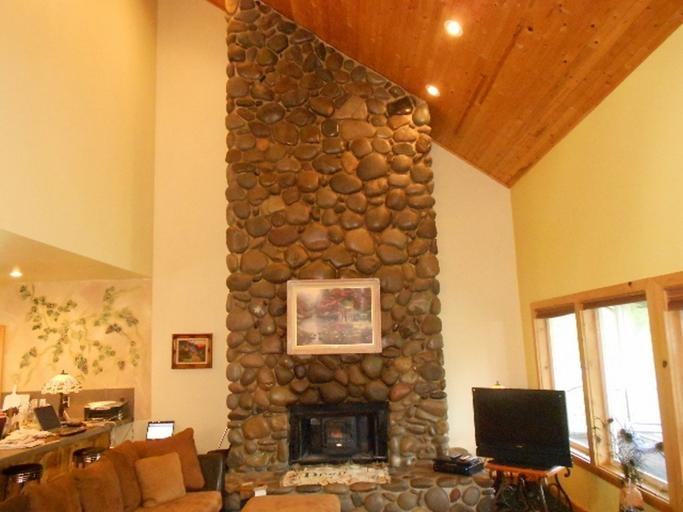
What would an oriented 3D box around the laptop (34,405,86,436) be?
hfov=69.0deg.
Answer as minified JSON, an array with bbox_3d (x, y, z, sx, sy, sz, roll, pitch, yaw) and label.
[{"bbox_3d":[-3.099,1.805,5.420,0.445,0.251,0.414,0,-8,4],"label":"laptop"}]

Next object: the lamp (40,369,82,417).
[{"bbox_3d":[-3.222,1.574,5.745,0.361,0.442,0.349,1,2,9],"label":"lamp"}]

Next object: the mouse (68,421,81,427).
[{"bbox_3d":[-3.066,1.937,5.710,0.107,0.030,0.095,2,-3,-2],"label":"mouse"}]

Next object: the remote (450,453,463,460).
[{"bbox_3d":[1.261,2.226,5.498,0.124,0.022,0.250,-4,-13,11],"label":"remote"}]

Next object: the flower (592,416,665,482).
[{"bbox_3d":[2.646,1.776,4.601,0.433,0.475,0.917,-5,-13,17],"label":"flower"}]

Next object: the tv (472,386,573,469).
[{"bbox_3d":[1.866,1.802,5.167,1.037,0.819,0.227,-5,-13,30],"label":"tv"}]

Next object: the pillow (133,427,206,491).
[{"bbox_3d":[-1.762,2.125,5.119,0.235,0.534,0.560,-27,-8,36],"label":"pillow"}]

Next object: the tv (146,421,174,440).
[{"bbox_3d":[-2.196,2.121,5.999,0.380,0.247,0.269,1,-11,-2],"label":"tv"}]

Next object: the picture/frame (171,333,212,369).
[{"bbox_3d":[-1.900,1.231,6.303,0.465,0.360,0.077,0,-7,-1],"label":"picture/frame"}]

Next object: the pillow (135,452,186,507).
[{"bbox_3d":[-1.732,2.126,4.682,0.446,0.364,0.222,4,-50,-41],"label":"pillow"}]
